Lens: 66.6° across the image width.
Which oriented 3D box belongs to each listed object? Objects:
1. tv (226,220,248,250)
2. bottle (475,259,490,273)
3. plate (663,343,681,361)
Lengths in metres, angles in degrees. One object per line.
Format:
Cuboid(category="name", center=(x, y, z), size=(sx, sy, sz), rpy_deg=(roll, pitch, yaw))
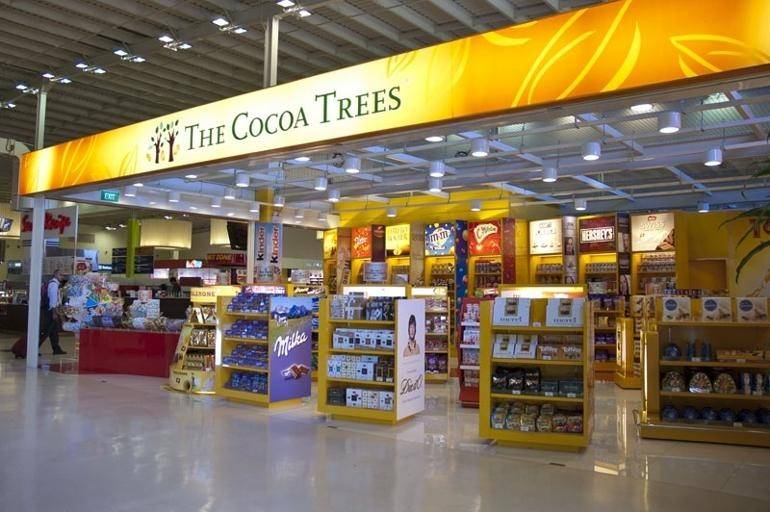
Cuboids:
Cuboid(category="tv", center=(-5.033, -0.706, 19.823), size=(0.599, 0.922, 1.340), rpy_deg=(1, 1, -16))
Cuboid(category="bottle", center=(2.925, 0.287, 17.478), size=(0.485, 0.401, 0.346), rpy_deg=(1, 0, 33))
Cuboid(category="plate", center=(4.491, 1.491, 9.117), size=(0.261, 0.251, 0.250), rpy_deg=(0, -3, 29))
